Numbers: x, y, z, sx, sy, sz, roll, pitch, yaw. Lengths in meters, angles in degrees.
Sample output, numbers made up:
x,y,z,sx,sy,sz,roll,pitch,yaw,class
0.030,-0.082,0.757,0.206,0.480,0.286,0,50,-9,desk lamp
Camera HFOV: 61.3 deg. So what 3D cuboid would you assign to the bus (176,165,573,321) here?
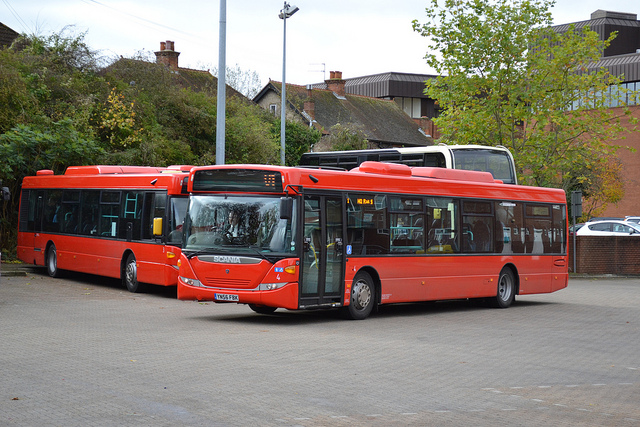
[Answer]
x,y,z,sx,sy,sz,roll,pitch,yaw,class
2.946,0.700,16.953,14.580,4.026,2.593,3,-2,-36,bus
